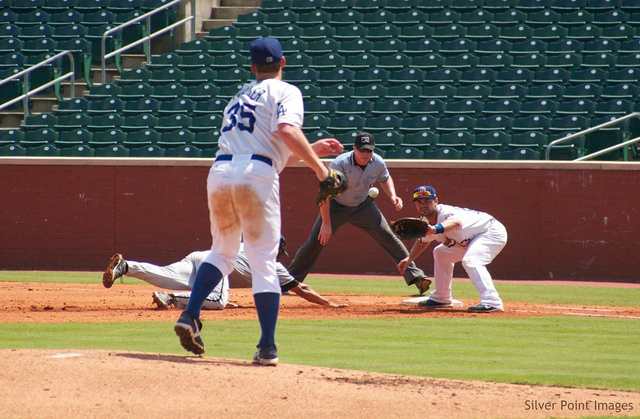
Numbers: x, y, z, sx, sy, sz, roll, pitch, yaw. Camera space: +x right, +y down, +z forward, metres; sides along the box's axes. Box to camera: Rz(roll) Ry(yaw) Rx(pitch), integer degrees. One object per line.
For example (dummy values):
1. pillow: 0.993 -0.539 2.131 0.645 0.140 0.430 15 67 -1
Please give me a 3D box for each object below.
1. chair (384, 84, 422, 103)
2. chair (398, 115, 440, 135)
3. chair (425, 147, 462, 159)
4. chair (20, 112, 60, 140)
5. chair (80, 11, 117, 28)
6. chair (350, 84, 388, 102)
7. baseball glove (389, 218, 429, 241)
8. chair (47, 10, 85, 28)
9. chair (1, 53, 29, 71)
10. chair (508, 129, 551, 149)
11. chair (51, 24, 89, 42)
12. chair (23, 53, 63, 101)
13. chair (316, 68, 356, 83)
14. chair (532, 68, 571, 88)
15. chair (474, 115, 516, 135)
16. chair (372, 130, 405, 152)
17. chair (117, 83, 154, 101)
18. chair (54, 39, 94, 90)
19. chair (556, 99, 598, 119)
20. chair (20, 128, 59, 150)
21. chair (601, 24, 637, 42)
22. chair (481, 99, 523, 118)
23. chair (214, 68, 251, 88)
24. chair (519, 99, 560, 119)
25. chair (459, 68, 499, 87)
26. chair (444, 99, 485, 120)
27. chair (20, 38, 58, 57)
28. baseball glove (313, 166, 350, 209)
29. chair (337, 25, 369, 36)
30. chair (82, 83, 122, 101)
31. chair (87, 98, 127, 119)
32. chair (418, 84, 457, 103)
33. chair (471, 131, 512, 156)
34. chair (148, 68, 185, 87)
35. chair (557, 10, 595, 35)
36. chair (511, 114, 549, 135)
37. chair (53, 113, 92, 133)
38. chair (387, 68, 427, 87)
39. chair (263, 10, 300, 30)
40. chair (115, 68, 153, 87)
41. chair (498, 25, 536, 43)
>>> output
1. chair: 1.892 -2.582 26.546 0.726 0.411 0.507 3 -8 24
2. chair: 2.168 -1.840 25.665 0.652 0.243 0.528 1 6 18
3. chair: 2.576 -1.165 24.952 0.482 0.179 0.329 3 -3 -4
4. chair: -6.191 -1.834 26.368 0.688 0.486 0.522 -1 2 5
5. chair: -5.507 -4.711 29.630 0.753 0.381 0.522 0 2 9
6. chair: 1.143 -2.598 26.670 0.705 0.438 0.441 -1 -19 17
7. baseball glove: 1.436 0.296 19.190 0.632 0.336 0.286 3 4 6
8. chair: -6.354 -4.799 29.720 0.726 0.265 0.523 -13 21 6
9. chair: -7.227 -3.487 28.273 0.513 0.549 0.486 0 0 -10
10. chair: 4.366 -1.440 24.860 0.656 0.280 0.475 0 1 20
11. chair: -6.131 -4.298 29.200 0.771 0.408 0.516 0 -1 7
12. chair: -6.466 -3.081 27.679 0.887 1.130 1.711 2 4 -15
13. chair: 0.381 -3.030 27.176 0.855 0.360 0.399 3 4 2
14. chair: 5.160 -2.906 26.275 0.706 0.391 0.523 3 1 31
15. chair: 3.716 -1.794 25.324 0.701 0.357 0.503 1 -6 19
16. chair: 1.459 -1.481 25.446 0.556 0.455 0.592 1 -7 9
17. chair: -4.192 -2.638 27.122 0.861 0.378 0.463 0 -6 8
18. chair: -5.860 -3.476 28.337 1.013 1.040 0.860 2 7 4
19. chair: 5.498 -2.140 25.403 0.733 0.381 0.520 1 -5 25
20. chair: -6.107 -1.554 25.920 0.860 0.532 0.479 1 -1 9
21. chair: 6.826 -3.991 27.114 0.718 0.405 0.509 2 2 25
22. chair: 3.966 -2.181 25.736 0.650 0.336 0.530 3 1 23
23. chair: -2.011 -3.008 27.353 0.682 0.349 0.577 0 -6 7
24. chair: 4.722 -2.160 25.572 0.727 0.379 0.516 1 -1 26
25. chair: 3.572 -2.932 26.595 0.775 0.399 0.518 3 0 24
26. chair: 3.182 -2.183 25.856 0.657 0.246 0.547 5 34 16
27. chair: -6.777 -3.895 28.731 0.859 0.450 0.555 0 -1 8
28. baseball glove: 0.157 -0.317 16.950 0.433 0.553 0.289 24 -4 -3
29. chair: 0.779 -4.249 28.573 0.510 0.158 0.351 1 1 -8
30. chair: -4.957 -2.678 27.162 0.671 0.331 0.550 0 0 11
31. chair: -4.760 -2.273 26.640 0.947 0.405 0.452 0 -4 6
32. chair: 2.633 -2.570 26.446 0.659 0.360 0.552 2 -2 26
33. chair: 3.651 -1.413 24.999 0.639 0.333 0.552 2 -2 27
34. chair: -3.566 -3.097 27.483 0.660 0.339 0.566 1 2 12
35. chair: 5.952 -4.379 27.711 0.891 0.483 0.654 1 1 26
36. chair: 4.501 -1.808 25.238 0.684 0.368 0.487 1 -3 21
37. chair: -5.441 -1.923 26.325 0.589 0.310 0.549 1 0 2
38. chair: 2.031 -2.959 26.929 0.779 0.399 0.522 0 -1 21
39. chair: -0.906 -4.655 29.350 0.661 0.335 0.551 0 1 19
40. chair: -4.326 -3.042 27.624 0.700 0.352 0.538 0 2 7
41. chair: 4.589 -4.032 27.694 0.900 0.433 0.575 0 -16 21
